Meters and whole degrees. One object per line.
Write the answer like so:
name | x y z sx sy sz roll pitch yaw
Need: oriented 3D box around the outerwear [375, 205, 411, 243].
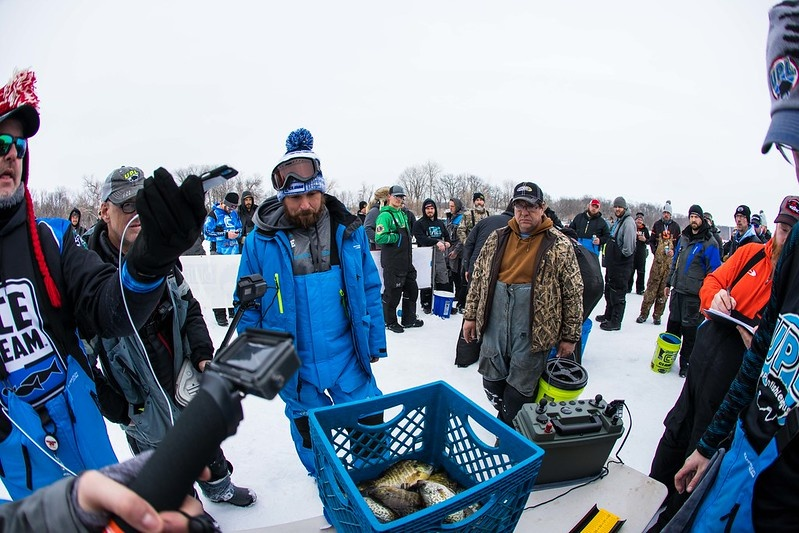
outerwear | -0.080 -0.567 7.147 0.408 0.645 0.824 -3 1 31

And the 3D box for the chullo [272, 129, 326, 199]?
chullo | -0.796 -0.846 3.729 0.390 0.531 0.352 -9 -2 2

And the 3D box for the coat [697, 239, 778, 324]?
coat | 2.849 0.128 3.909 0.374 0.706 0.723 15 10 9

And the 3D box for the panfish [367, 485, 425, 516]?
panfish | -0.021 1.297 2.637 0.246 0.085 0.142 20 18 18

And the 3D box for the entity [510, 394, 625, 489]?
entity | 1.011 1.070 2.816 0.630 0.619 0.251 -1 30 -4

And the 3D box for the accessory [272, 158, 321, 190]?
accessory | -0.782 -0.732 3.652 0.243 0.149 0.300 -22 -5 10

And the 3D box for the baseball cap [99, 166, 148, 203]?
baseball cap | -1.885 -0.596 3.287 0.447 0.285 0.300 4 12 39

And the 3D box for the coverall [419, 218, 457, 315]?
coverall | 0.640 -0.098 8.506 0.642 1.801 0.532 4 -11 -32

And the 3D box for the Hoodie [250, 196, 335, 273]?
Hoodie | -0.823 -0.238 3.677 0.432 0.562 0.360 -18 1 -17

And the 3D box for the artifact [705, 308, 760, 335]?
artifact | 2.456 0.396 3.478 0.225 0.061 0.218 32 -12 -31

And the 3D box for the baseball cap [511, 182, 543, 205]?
baseball cap | 1.113 -0.643 4.068 0.271 0.197 0.335 2 12 16

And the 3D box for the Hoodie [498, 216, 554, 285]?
Hoodie | 1.125 -0.131 4.141 0.374 0.697 0.466 19 -8 -40
